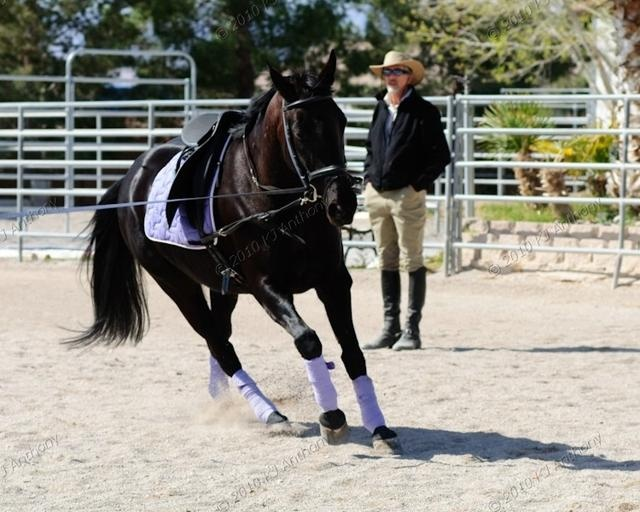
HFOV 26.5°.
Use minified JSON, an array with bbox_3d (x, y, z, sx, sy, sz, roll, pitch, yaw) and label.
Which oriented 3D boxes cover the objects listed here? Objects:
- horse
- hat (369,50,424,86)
[{"bbox_3d":[-1.035,0.091,13.903,1.362,3.651,5.980,-11,6,-30],"label":"horse"},{"bbox_3d":[0.812,-2.003,14.107,0.591,0.204,0.578,-10,-12,43],"label":"hat"}]
